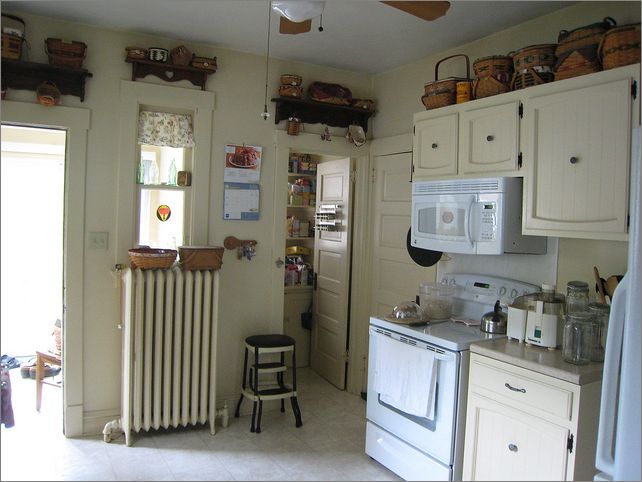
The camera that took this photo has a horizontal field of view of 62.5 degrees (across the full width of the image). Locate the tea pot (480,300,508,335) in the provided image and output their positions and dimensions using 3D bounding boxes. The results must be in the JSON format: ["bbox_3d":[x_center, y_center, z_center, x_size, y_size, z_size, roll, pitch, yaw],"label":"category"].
[{"bbox_3d":[1.221,0.560,3.821,0.155,0.220,0.238,3,2,13],"label":"tea pot"}]

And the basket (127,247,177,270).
[{"bbox_3d":[-1.329,0.138,4.175,0.368,0.143,0.261,2,10,-7],"label":"basket"}]

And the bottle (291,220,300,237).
[{"bbox_3d":[-0.277,-0.141,5.824,0.118,0.182,0.056,-5,13,-39],"label":"bottle"}]

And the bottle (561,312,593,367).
[{"bbox_3d":[1.546,0.579,3.163,0.165,0.299,0.125,7,11,24],"label":"bottle"}]

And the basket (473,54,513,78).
[{"bbox_3d":[1.212,-1.215,3.711,0.268,0.151,0.101,6,11,18],"label":"basket"}]

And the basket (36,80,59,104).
[{"bbox_3d":[-2.037,-1.098,3.939,0.142,0.181,0.120,-7,-4,-28],"label":"basket"}]

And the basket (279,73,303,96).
[{"bbox_3d":[-0.255,-1.341,4.647,0.196,0.159,0.195,-1,8,-30],"label":"basket"}]

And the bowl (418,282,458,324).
[{"bbox_3d":[0.914,0.469,4.157,0.270,0.264,0.273,0,4,0],"label":"bowl"}]

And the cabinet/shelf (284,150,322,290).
[{"bbox_3d":[-0.194,-0.233,5.810,0.374,1.429,0.612,2,10,-2],"label":"cabinet/shelf"}]

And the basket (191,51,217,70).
[{"bbox_3d":[-0.955,-1.456,4.350,0.172,0.118,0.131,-3,10,-33],"label":"basket"}]

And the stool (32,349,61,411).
[{"bbox_3d":[-2.395,1.168,4.628,0.201,0.495,0.400,-2,11,-27],"label":"stool"}]

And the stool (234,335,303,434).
[{"bbox_3d":[-0.455,1.162,4.634,0.574,0.717,0.742,1,10,-9],"label":"stool"}]

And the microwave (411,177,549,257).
[{"bbox_3d":[1.222,-0.172,3.898,0.543,0.527,0.844,1,1,-30],"label":"microwave"}]

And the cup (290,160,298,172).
[{"bbox_3d":[-0.290,-0.810,5.767,0.084,0.131,0.075,7,11,24],"label":"cup"}]

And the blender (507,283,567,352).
[{"bbox_3d":[1.464,0.504,3.555,0.375,0.378,0.340,12,-12,35],"label":"blender"}]

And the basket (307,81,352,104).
[{"bbox_3d":[0.092,-1.341,4.833,0.416,0.190,0.219,2,10,-7],"label":"basket"}]
